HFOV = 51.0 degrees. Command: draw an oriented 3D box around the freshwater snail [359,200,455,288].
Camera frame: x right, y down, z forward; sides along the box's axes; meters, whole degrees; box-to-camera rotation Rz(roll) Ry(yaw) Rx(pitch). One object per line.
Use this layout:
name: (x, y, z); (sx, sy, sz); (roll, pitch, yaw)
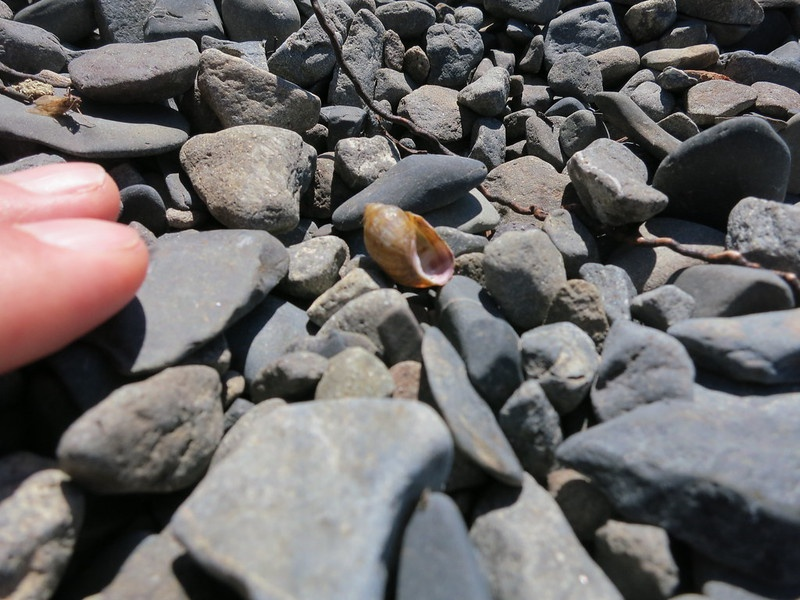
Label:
freshwater snail: (0.038, -0.238, 3.572); (0.430, 0.272, 0.237); (49, 18, -11)

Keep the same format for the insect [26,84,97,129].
insect: (-1.450, -0.822, 3.599); (0.169, 0.059, 0.177); (6, 38, -35)
